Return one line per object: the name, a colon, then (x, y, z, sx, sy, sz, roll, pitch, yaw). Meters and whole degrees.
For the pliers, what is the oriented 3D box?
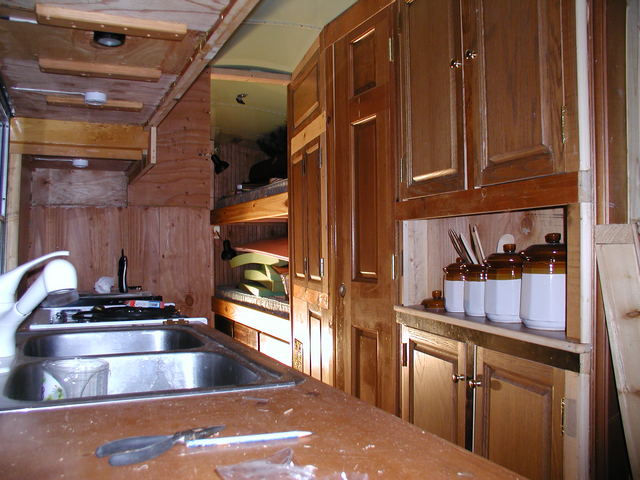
pliers: (-0.297, 0.380, 0.942, 0.225, 0.029, 0.067, -2, 3, -27)
